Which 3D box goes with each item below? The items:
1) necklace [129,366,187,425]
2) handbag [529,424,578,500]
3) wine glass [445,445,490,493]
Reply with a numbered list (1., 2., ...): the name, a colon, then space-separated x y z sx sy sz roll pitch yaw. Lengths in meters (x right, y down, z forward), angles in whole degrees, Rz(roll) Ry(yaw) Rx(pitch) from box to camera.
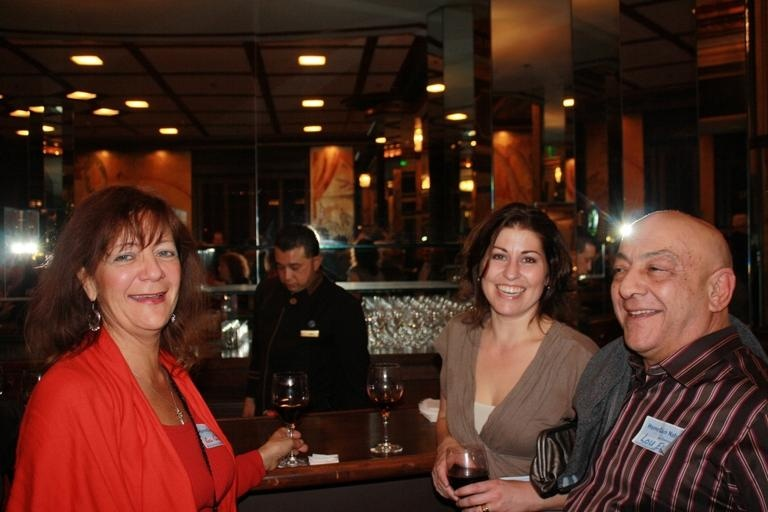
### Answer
1. necklace: -1.033 0.653 3.244 0.071 0.296 0.176 -49 -21 24
2. handbag: 0.773 0.929 3.244 0.220 0.294 0.089 -4 -19 39
3. wine glass: 0.366 0.935 3.185 0.194 0.181 0.192 -1 -6 -7
